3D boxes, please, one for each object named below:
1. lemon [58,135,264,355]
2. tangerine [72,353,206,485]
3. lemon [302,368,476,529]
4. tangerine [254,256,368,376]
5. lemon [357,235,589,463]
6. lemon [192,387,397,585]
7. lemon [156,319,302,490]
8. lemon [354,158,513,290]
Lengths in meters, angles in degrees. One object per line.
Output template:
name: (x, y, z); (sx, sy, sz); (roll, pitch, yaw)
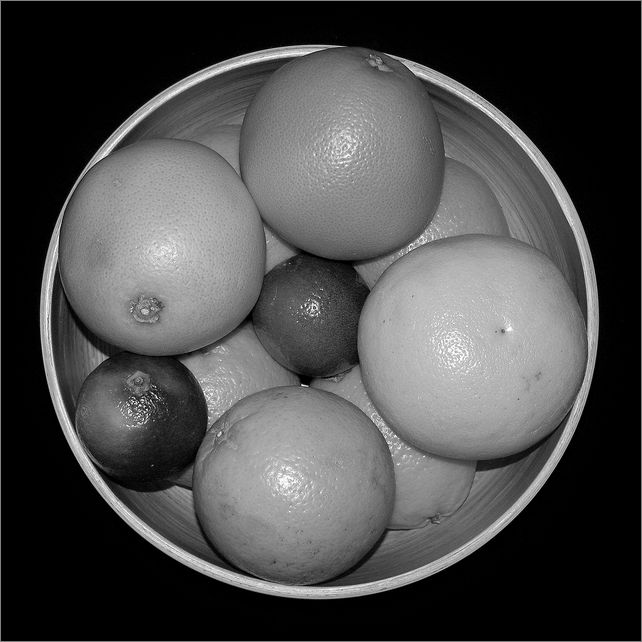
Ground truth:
lemon: (-0.206, -0.105, 0.943); (0.263, 0.139, 0.256); (-3, 71, -4)
tangerine: (-0.228, 0.129, 0.959); (0.137, 0.159, 0.194); (-4, 89, -1)
lemon: (0.108, 0.203, 1.144); (0.214, 0.198, 0.230); (16, 94, 6)
tangerine: (-0.009, -0.013, 1.035); (0.126, 0.160, 0.209); (2, 108, 4)
lemon: (0.186, 0.011, 0.934); (0.226, 0.270, 0.299); (-4, 115, 4)
lemon: (-0.035, 0.177, 0.909); (0.216, 0.237, 0.272); (2, 72, 0)
lemon: (-0.124, 0.058, 1.164); (0.192, 0.207, 0.259); (33, 92, -5)
lemon: (0.166, -0.175, 1.107); (0.169, 0.203, 0.280); (5, 103, 7)
